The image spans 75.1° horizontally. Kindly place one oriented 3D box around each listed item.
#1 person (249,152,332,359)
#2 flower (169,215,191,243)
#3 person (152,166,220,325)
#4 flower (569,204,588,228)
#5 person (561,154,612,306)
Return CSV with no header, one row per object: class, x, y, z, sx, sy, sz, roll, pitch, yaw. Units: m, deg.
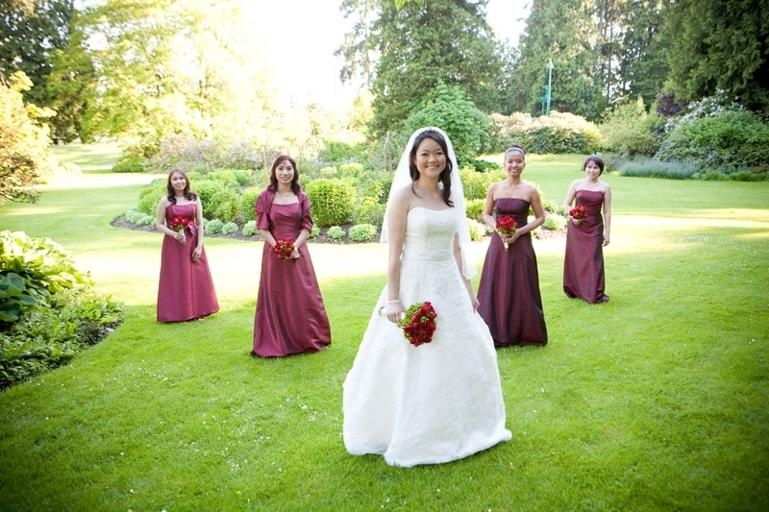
person,-1.546,-0.026,7.978,1.196,3.137,0.758,-2,10,-8
flower,-3.621,-0.497,8.870,0.328,0.426,0.268,-3,10,-14
person,-3.634,-0.211,9.018,1.008,2.706,0.584,-5,11,-25
flower,3.687,-0.802,9.541,0.304,0.385,0.229,1,10,7
person,3.899,-0.543,9.604,0.861,2.749,0.863,3,10,20
